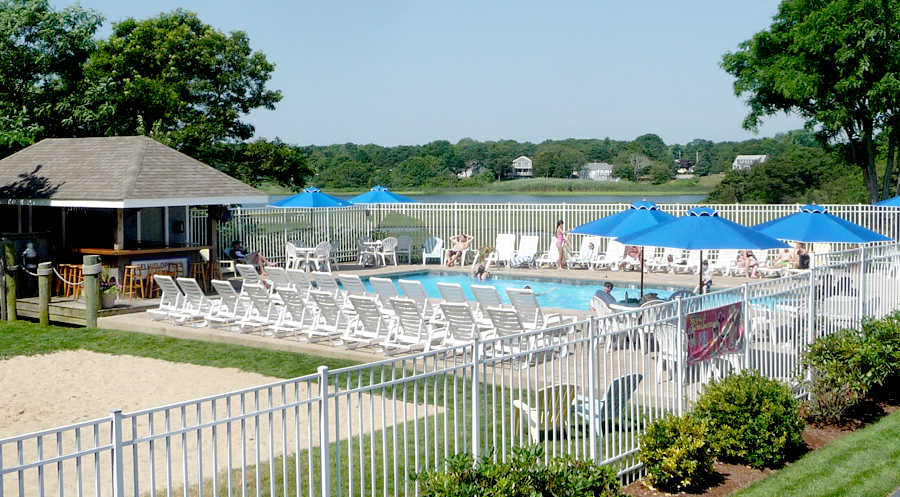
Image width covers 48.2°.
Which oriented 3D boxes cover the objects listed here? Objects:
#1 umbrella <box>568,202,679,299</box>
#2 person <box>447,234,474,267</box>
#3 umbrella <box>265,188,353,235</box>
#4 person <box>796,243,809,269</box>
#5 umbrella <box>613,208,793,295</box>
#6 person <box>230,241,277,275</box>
[{"bbox_3d":[5.335,0.034,30.403,2.807,1.956,2.836,2,10,36],"label":"umbrella"},{"bbox_3d":[0.147,0.083,40.363,0.899,1.080,1.035,10,-4,10],"label":"person"},{"bbox_3d":[-5.457,-1.900,39.488,2.856,1.070,1.421,-11,5,-13],"label":"umbrella"},{"bbox_3d":[12.458,0.288,35.529,0.336,0.831,0.959,-1,2,32],"label":"person"},{"bbox_3d":[6.629,0.091,26.568,2.379,1.507,2.368,3,7,32],"label":"umbrella"},{"bbox_3d":[-7.227,0.291,36.437,1.605,1.112,0.658,9,25,17],"label":"person"}]
